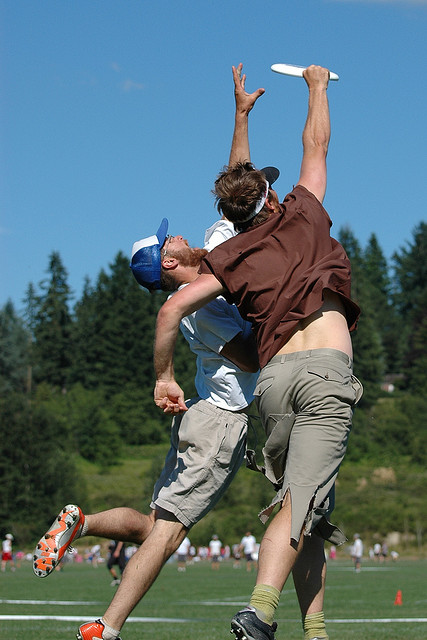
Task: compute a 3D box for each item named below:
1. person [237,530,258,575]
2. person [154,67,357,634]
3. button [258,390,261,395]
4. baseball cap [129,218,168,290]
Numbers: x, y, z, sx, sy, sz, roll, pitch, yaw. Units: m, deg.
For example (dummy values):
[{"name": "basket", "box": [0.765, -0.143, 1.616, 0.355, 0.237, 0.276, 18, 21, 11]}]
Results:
[{"name": "person", "box": [0.993, 6.762, 40.419, 0.450, 1.282, 0.409, -1, 18, 19]}, {"name": "person", "box": [0.419, 0.363, 9.366, 1.290, 3.475, 1.116, -2, 9, -40]}, {"name": "button", "box": [0.304, 0.488, 9.306, 0.004, 0.033, 0.031, -1, 8, -33]}, {"name": "baseball cap", "box": [-0.497, -0.482, 10.231, 0.251, 0.533, 0.191, 3, 7, -5]}]
